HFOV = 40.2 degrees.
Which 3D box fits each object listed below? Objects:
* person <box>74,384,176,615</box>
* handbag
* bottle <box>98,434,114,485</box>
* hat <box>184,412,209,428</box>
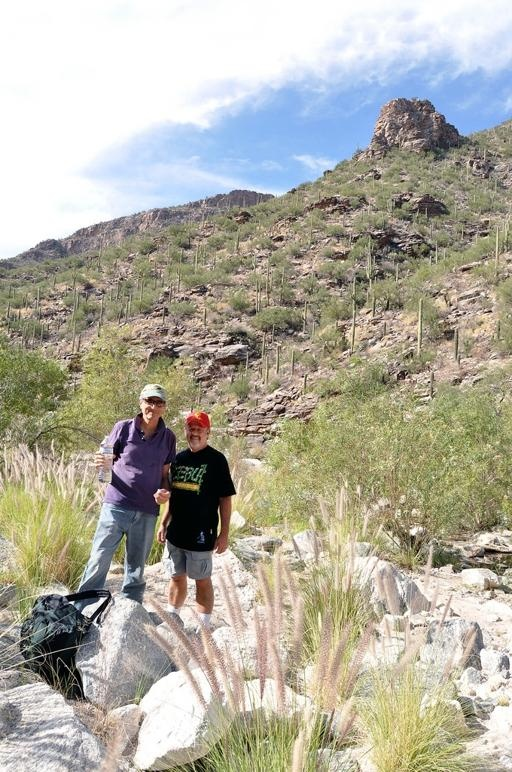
[{"bbox_3d":[-0.834,0.688,4.426,0.328,1.313,0.796,-1,7,37],"label":"person"},{"bbox_3d":[-1.086,1.314,3.641,0.257,0.307,0.369,-52,9,44],"label":"handbag"},{"bbox_3d":[-0.960,0.464,4.452,0.099,0.271,0.272,-6,6,-12],"label":"bottle"},{"bbox_3d":[-0.376,0.215,4.616,0.135,0.109,0.230,6,5,5],"label":"hat"}]
